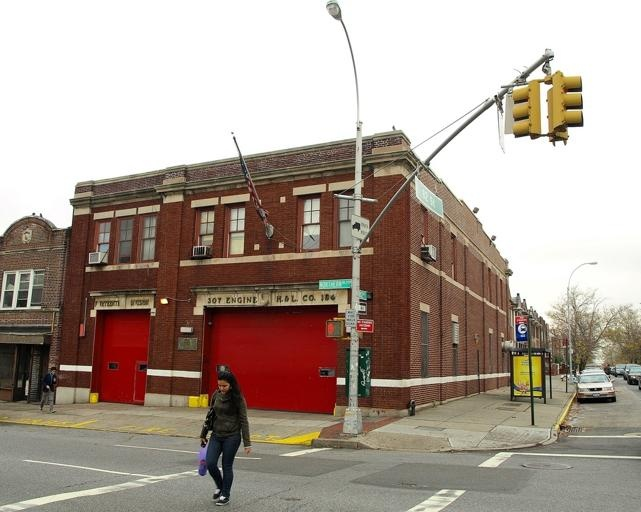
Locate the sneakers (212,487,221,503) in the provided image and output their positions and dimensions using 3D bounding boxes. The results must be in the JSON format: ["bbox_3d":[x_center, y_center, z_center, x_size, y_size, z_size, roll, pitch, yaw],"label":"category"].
[{"bbox_3d":[-1.774,4.138,10.347,0.112,0.129,0.300,-2,-8,10],"label":"sneakers"}]

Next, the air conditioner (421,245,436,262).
[{"bbox_3d":[4.369,0.065,24.222,0.570,0.729,1.086,-3,-13,23],"label":"air conditioner"}]

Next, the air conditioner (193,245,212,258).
[{"bbox_3d":[-5.078,-0.112,25.812,0.822,0.565,0.493,-7,-17,26],"label":"air conditioner"}]

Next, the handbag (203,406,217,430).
[{"bbox_3d":[-1.889,2.840,10.449,0.165,0.376,0.264,5,-9,-30],"label":"handbag"}]

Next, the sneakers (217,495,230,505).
[{"bbox_3d":[-1.643,4.149,10.179,0.230,0.170,0.148,5,-13,-29],"label":"sneakers"}]

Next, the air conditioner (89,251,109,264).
[{"bbox_3d":[-10.531,0.191,28.544,0.926,0.663,0.536,-8,-18,22],"label":"air conditioner"}]

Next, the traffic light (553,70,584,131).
[{"bbox_3d":[4.724,-2.988,11.655,0.585,1.254,0.298,1,-7,21],"label":"traffic light"}]

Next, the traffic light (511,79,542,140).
[{"bbox_3d":[4.158,-2.919,12.103,0.590,1.237,0.278,-6,-12,21],"label":"traffic light"}]

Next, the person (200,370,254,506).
[{"bbox_3d":[-1.633,3.105,10.299,0.739,2.237,0.814,4,-12,-27],"label":"person"}]
